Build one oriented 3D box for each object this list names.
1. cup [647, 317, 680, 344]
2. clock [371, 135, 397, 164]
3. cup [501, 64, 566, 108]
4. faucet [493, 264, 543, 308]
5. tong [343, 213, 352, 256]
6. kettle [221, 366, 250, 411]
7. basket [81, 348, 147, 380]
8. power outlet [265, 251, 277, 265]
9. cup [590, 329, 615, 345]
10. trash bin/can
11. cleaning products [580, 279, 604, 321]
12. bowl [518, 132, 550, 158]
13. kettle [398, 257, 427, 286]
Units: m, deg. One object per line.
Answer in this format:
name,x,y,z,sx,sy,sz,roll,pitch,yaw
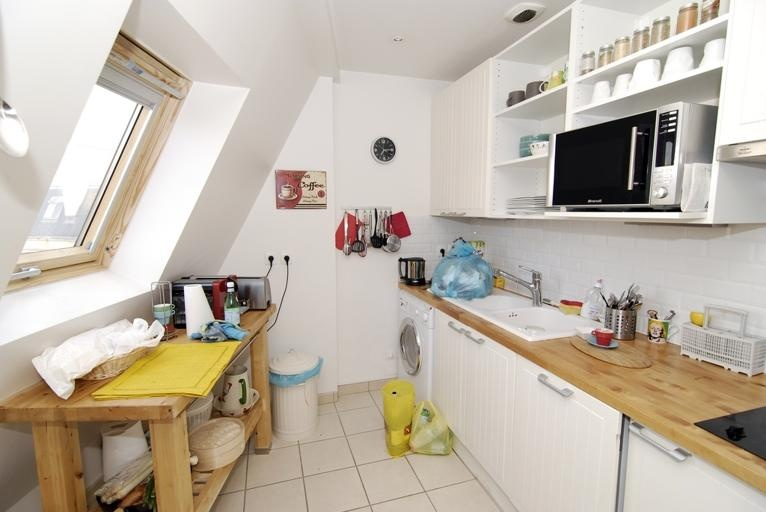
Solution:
cup,1.654,0.448,2.795,0.164,0.124,0.105,-1,2,5
clock,0.011,-0.956,4.215,0.224,0.223,0.052,4,6,-29
cup,1.041,-1.125,3.186,0.404,0.276,0.236,9,13,40
faucet,1.071,0.211,3.660,0.336,0.278,0.541,3,3,19
tong,-0.303,-0.202,4.109,0.093,0.332,0.048,-2,4,-7
kettle,-1.011,0.945,3.328,0.182,0.263,0.275,0,7,-13
basket,-1.422,0.590,2.530,0.180,0.060,0.156,-21,8,-3
power outlet,-0.949,0.013,4.003,0.104,0.102,0.027,0,9,-9
cup,1.286,0.476,2.760,0.107,0.091,0.119,3,3,24
trash bin/can,-0.614,1.085,4.002,0.564,0.763,0.590,-2,10,-7
cleaning products,1.416,0.287,3.152,0.143,0.267,0.148,4,4,36
bowl,1.044,-0.750,3.242,0.176,0.108,0.178,-1,2,0
kettle,0.286,0.136,4.263,0.171,0.244,0.308,0,4,-33
